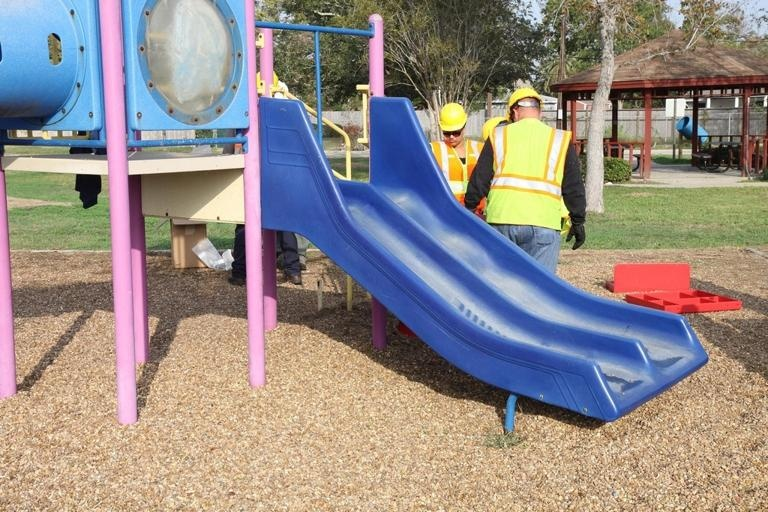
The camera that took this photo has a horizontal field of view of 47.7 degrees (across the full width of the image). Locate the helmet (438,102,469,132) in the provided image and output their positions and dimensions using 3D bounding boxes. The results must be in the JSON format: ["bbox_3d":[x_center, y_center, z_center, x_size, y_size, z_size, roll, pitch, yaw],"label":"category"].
[{"bbox_3d":[0.689,-1.446,8.692,0.215,0.302,0.155,-3,-30,17],"label":"helmet"}]

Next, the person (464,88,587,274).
[{"bbox_3d":[1.316,-0.470,8.146,1.023,2.169,0.685,11,25,25],"label":"person"}]

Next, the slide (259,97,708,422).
[{"bbox_3d":[0.686,-0.193,7.530,3.891,2.111,1.567,14,18,43],"label":"slide"}]

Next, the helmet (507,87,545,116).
[{"bbox_3d":[1.299,-1.449,8.103,0.250,0.201,0.364,4,9,9],"label":"helmet"}]
